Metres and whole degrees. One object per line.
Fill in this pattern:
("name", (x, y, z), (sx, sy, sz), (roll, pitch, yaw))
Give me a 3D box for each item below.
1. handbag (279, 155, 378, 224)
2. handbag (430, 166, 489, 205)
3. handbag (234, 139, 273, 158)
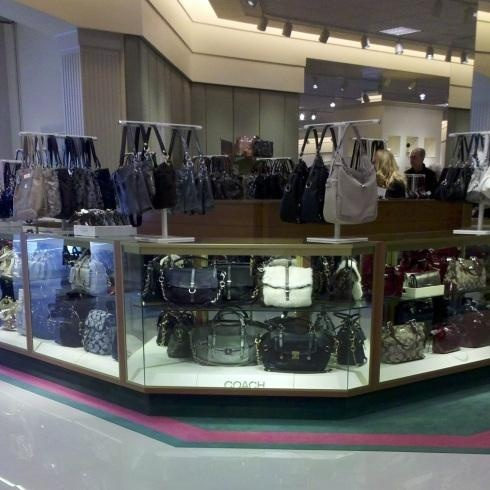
("handbag", (0.511, -0.335, 2.794), (0.581, 0.417, 0.328), (0, 5, 4))
("handbag", (1.763, -0.474, 3.763), (0.160, 0.416, 0.416), (5, 12, -25))
("handbag", (0.110, -1.269, 6.075), (0.369, 0.201, 0.287), (-1, 11, -20))
